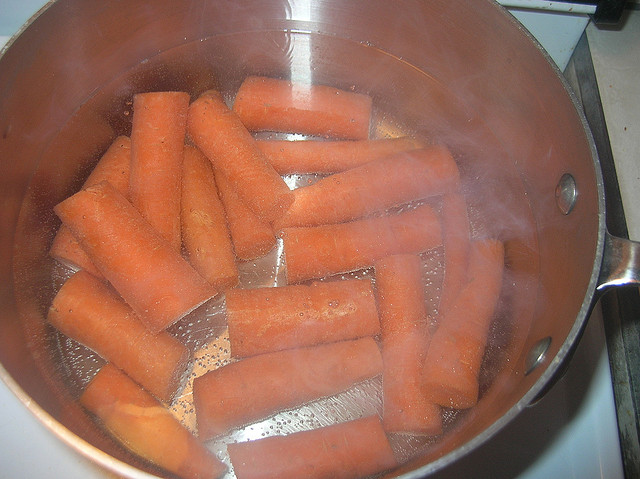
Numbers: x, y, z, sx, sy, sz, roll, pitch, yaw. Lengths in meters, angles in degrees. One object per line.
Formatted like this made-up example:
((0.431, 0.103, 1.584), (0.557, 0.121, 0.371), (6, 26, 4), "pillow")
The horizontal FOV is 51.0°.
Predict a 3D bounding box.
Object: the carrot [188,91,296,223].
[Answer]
((-0.239, -0.234, 1.979), (0.154, 0.147, 0.375), (-34, 90, 6), "carrot")

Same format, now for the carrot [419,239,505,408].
((0.424, 0.253, 1.994), (0.156, 0.148, 0.574), (14, 74, 8), "carrot")

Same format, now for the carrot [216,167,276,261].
((-0.217, -0.079, 1.950), (0.116, 0.121, 0.314), (-29, 68, 37), "carrot")

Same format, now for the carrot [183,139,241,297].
((-0.340, -0.041, 2.018), (0.119, 0.130, 0.497), (-14, 78, -12), "carrot")

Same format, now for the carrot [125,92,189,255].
((-0.470, -0.217, 1.970), (0.130, 0.139, 0.524), (5, 93, 31), "carrot")
